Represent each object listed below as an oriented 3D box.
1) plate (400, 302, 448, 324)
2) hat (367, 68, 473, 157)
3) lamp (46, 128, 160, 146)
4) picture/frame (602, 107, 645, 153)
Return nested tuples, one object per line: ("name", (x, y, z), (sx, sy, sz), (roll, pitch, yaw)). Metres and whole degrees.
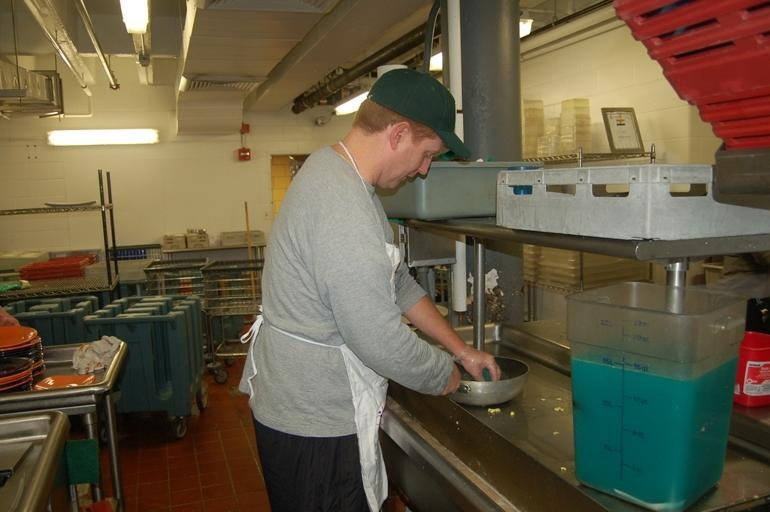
("plate", (0.177, 0.243, 2.363), (0.145, 0.055, 0.112), (31, 49, 25))
("hat", (0.121, -0.499, 1.987), (0.347, 0.172, 0.232), (26, 15, -8))
("lamp", (-4.436, -1.866, 8.693), (1.754, 0.294, 0.177), (-5, 12, -14))
("picture/frame", (2.492, -1.319, 5.738), (0.469, 0.562, 0.060), (-11, -13, -11))
